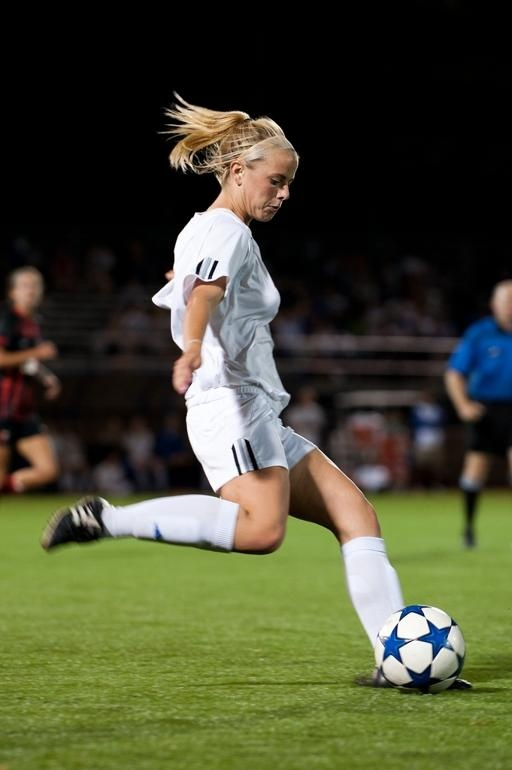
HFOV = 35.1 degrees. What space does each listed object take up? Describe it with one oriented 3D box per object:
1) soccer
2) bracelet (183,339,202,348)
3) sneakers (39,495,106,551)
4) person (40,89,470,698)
[{"bbox_3d":[0.412,0.701,2.222,0.252,0.211,0.221,7,-9,-1],"label":"soccer"},{"bbox_3d":[-0.158,-0.100,1.996,0.029,0.018,0.028,-1,0,23],"label":"bracelet"},{"bbox_3d":[-0.555,0.433,2.522,0.279,0.091,0.125,-34,-43,20],"label":"sneakers"},{"bbox_3d":[-0.202,0.014,2.493,1.135,1.765,1.272,-1,0,35],"label":"person"}]
